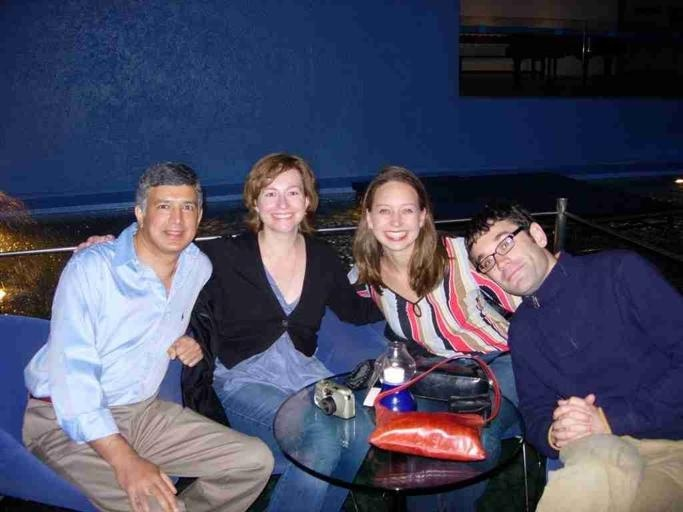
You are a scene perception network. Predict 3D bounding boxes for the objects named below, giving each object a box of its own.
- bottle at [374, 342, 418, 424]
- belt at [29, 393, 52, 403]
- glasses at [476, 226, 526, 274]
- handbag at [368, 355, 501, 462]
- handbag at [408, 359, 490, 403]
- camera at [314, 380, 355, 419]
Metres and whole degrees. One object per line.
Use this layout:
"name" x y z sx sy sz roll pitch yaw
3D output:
"bottle" 0.248 0.548 2.358 0.270 0.408 0.255 0 -7 0
"belt" -1.337 0.619 2.319 0.053 0.039 0.052 -1 -4 4
"glasses" 0.758 -0.048 2.488 0.216 0.065 0.217 -28 -14 -47
"handbag" 0.410 0.631 2.273 0.529 0.335 0.497 -1 8 15
"handbag" 0.529 0.591 2.536 0.229 0.058 0.223 -3 7 -4
"camera" -0.033 0.638 2.351 0.138 0.118 0.218 0 3 -38
